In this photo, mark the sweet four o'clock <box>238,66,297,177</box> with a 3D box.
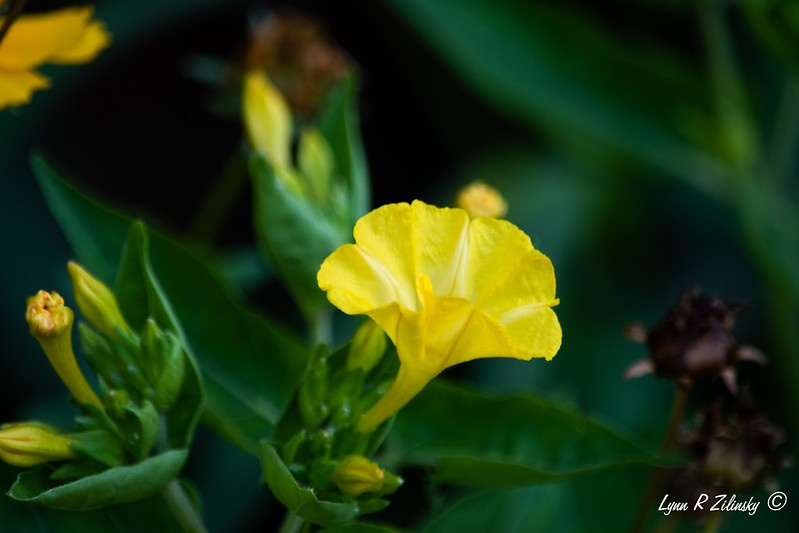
[{"bbox_3d":[-0.216,-0.229,1.340,0.072,0.165,0.059,-5,7,-3],"label":"sweet four o'clock"}]

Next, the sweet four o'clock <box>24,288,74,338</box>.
[{"bbox_3d":[-0.539,0.071,1.262,0.079,0.064,0.037,1,-18,19],"label":"sweet four o'clock"}]

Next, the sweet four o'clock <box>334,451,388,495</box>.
[{"bbox_3d":[-0.058,0.307,1.204,0.071,0.052,0.027,6,13,32],"label":"sweet four o'clock"}]

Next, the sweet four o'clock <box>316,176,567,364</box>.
[{"bbox_3d":[0.064,0.017,1.243,0.292,0.147,0.281,11,45,-5],"label":"sweet four o'clock"}]

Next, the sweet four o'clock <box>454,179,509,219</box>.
[{"bbox_3d":[0.159,-0.118,1.571,0.083,0.034,0.094,40,26,18],"label":"sweet four o'clock"}]

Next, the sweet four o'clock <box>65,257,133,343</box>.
[{"bbox_3d":[-0.464,0.053,1.259,0.086,0.122,0.025,-4,7,2],"label":"sweet four o'clock"}]
